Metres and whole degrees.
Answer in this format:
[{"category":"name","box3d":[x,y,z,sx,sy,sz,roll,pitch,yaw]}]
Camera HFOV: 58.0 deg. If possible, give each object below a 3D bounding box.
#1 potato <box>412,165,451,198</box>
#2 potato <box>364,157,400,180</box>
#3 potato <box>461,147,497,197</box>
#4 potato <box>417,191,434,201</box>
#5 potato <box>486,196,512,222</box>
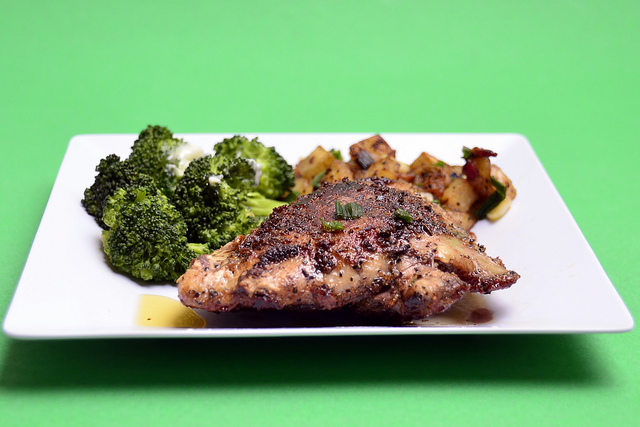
[{"category":"potato","box3d":[0.978,-0.282,4.993,0.292,0.092,0.295,13,52,17]},{"category":"potato","box3d":[0.539,-0.371,4.983,0.285,0.160,0.245,13,41,5]},{"category":"potato","box3d":[1.379,-0.353,4.855,0.100,0.367,0.355,-22,16,-31]},{"category":"potato","box3d":[0.892,-0.144,4.814,0.100,0.031,0.101,8,20,-4]},{"category":"potato","box3d":[1.512,-0.017,4.870,0.141,0.059,0.234,34,75,24]}]
